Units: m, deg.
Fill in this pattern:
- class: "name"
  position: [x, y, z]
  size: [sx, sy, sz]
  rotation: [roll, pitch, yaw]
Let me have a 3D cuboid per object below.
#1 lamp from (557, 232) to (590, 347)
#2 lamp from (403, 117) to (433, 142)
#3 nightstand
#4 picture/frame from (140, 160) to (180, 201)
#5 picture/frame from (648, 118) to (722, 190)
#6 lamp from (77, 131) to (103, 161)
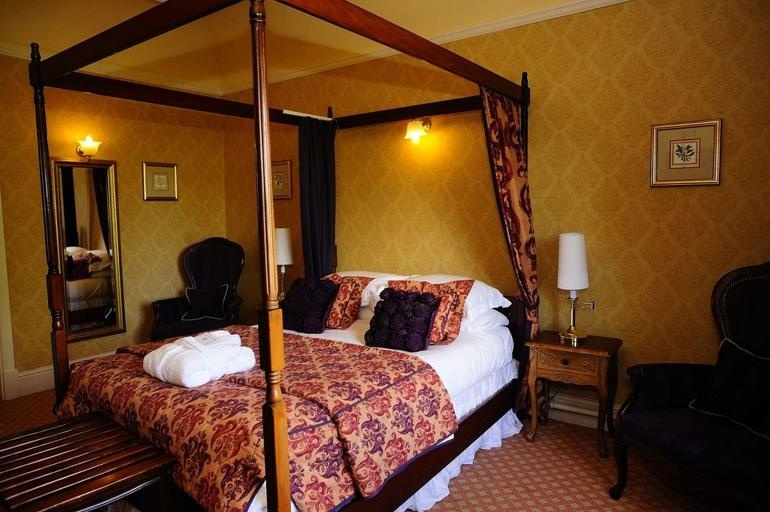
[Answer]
- class: "lamp"
  position: [1.814, 0.303, 5.119]
  size: [0.278, 1.037, 0.474]
  rotation: [4, 7, 32]
- class: "lamp"
  position: [0.365, -1.416, 5.977]
  size: [0.297, 0.248, 0.210]
  rotation: [0, 0, 12]
- class: "nightstand"
  position: [1.822, 1.325, 5.219]
  size: [0.820, 1.012, 0.684]
  rotation: [3, 7, 30]
- class: "picture/frame"
  position: [-3.040, -1.007, 7.087]
  size: [0.054, 0.538, 0.527]
  rotation: [5, -4, 37]
- class: "picture/frame"
  position: [2.794, -0.940, 4.888]
  size: [0.648, 0.721, 0.058]
  rotation: [1, 3, 29]
- class: "lamp"
  position: [-3.606, -1.290, 6.438]
  size: [0.279, 0.375, 0.296]
  rotation: [3, -5, -19]
